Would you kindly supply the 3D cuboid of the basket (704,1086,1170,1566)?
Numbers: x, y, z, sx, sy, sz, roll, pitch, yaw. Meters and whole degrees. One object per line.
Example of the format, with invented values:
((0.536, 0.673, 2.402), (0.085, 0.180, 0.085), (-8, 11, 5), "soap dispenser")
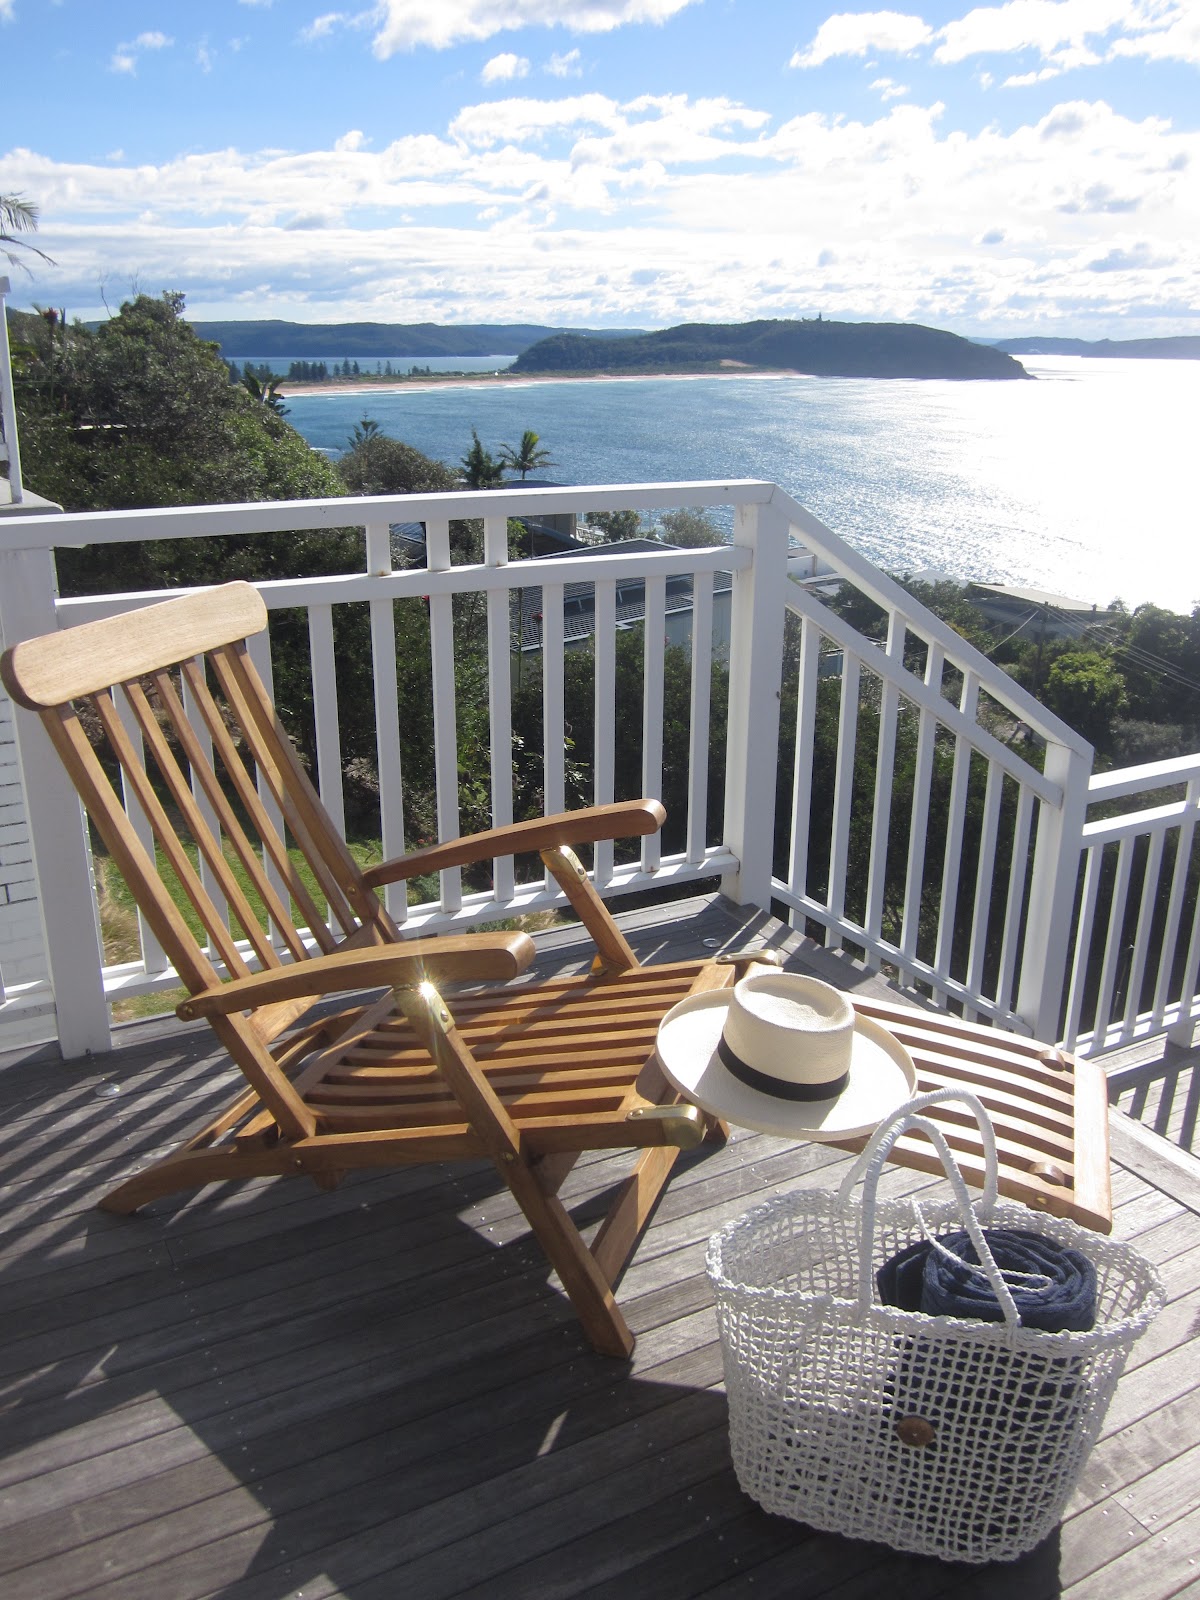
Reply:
((0.307, 0.499, 1.238), (0.418, 0.373, 0.248), (4, 7, 19), "basket")

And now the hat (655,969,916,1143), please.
((0.205, 0.248, 1.349), (0.257, 0.075, 0.259), (-2, 19, -31), "hat")
